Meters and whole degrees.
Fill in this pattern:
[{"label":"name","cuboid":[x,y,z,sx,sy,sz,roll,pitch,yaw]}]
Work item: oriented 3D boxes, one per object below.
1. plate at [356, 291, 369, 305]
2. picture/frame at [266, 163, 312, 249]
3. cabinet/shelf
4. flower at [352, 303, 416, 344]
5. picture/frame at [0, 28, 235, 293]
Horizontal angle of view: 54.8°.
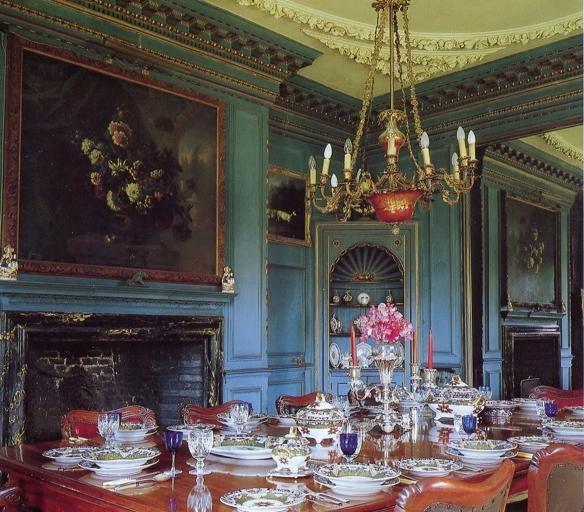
[{"label":"plate","cuboid":[0.844,0.514,6.675,0.111,0.151,0.123,2,2,26]},{"label":"picture/frame","cuboid":[-0.057,-0.521,5.977,0.071,0.979,0.821,-3,-6,43]},{"label":"cabinet/shelf","cuboid":[0.644,0.538,4.857,0.575,0.392,0.496,-1,2,-14]},{"label":"flower","cuboid":[0.527,0.373,3.132,0.288,0.234,0.214,-3,-11,12]},{"label":"picture/frame","cuboid":[-1.357,-0.692,4.192,0.086,1.678,1.772,-11,-16,40]}]
